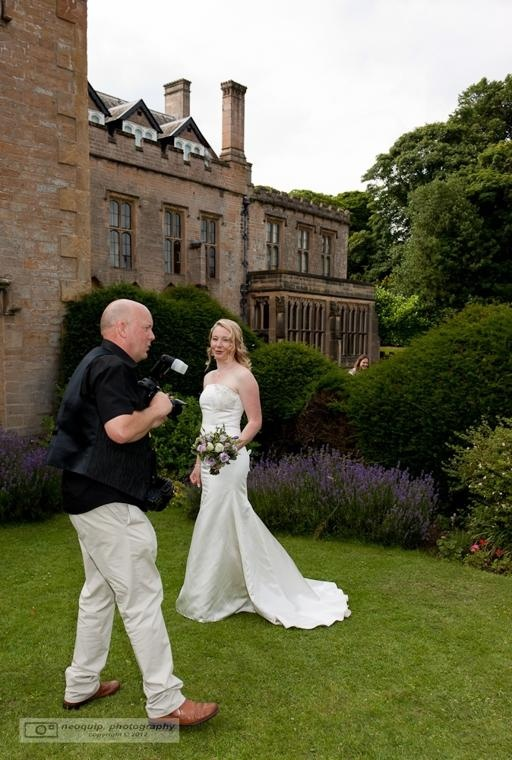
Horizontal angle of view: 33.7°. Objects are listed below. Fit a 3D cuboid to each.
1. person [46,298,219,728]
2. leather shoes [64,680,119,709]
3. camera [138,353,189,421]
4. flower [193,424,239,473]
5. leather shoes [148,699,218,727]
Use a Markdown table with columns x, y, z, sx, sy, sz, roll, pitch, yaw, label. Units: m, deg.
| x | y | z | sx | sy | sz | roll | pitch | yaw | label |
| --- | --- | --- | --- | --- | --- | --- | --- | --- | --- |
| -0.606 | 0.679 | 4.088 | 0.776 | 2.095 | 0.494 | 8 | 11 | 34 | person |
| -0.856 | 1.626 | 4.393 | 0.090 | 0.108 | 0.268 | 10 | 13 | 32 | leather shoes |
| -0.493 | 0.054 | 4.394 | 0.237 | 0.402 | 0.133 | 25 | 23 | 5 | camera |
| -0.262 | 0.469 | 5.589 | 0.291 | 0.295 | 0.303 | 0 | -2 | -2 | flower |
| -0.355 | 1.599 | 4.069 | 0.305 | 0.118 | 0.144 | -4 | -3 | -3 | leather shoes |
